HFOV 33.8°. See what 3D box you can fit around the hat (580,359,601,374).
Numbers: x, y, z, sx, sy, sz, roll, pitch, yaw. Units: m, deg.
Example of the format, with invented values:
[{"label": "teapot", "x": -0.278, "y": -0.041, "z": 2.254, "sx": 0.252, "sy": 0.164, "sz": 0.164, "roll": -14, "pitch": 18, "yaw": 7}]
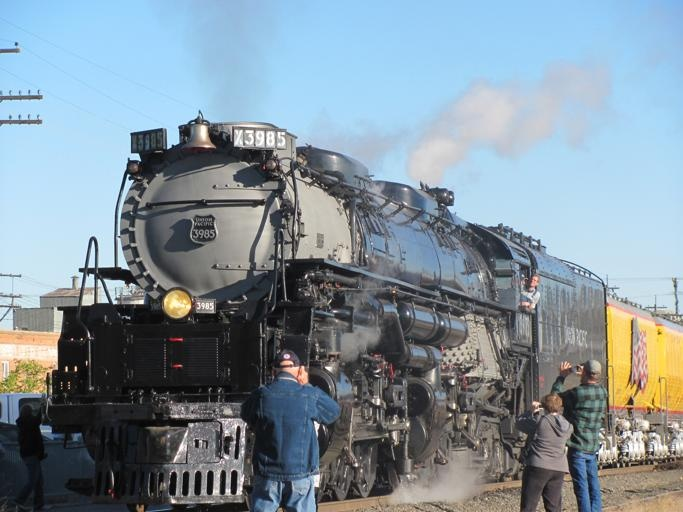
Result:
[{"label": "hat", "x": 3.708, "y": 1.668, "z": 16.841, "sx": 0.246, "sy": 0.189, "sz": 0.337, "roll": 0, "pitch": 3, "yaw": -32}]
